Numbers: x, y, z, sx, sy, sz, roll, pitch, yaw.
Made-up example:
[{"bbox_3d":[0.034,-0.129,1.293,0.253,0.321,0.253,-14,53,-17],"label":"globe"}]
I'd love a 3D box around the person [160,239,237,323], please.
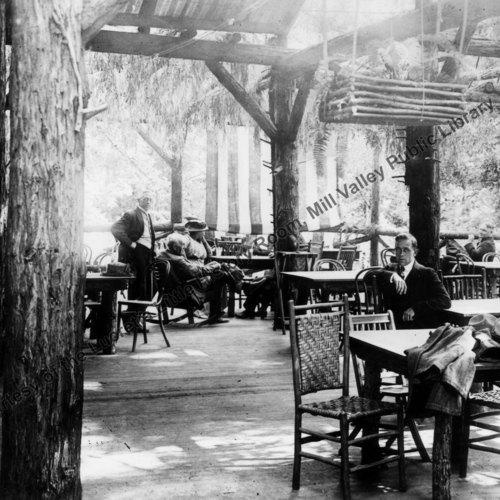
[{"bbox_3d":[-0.733,0.282,10.780,0.819,1.233,0.820,-18,24,-38],"label":"person"}]

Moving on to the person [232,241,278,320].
[{"bbox_3d":[0.098,0.576,11.575,0.586,1.343,0.494,3,6,2],"label":"person"}]

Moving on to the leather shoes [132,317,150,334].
[{"bbox_3d":[-1.189,0.809,9.337,0.156,0.096,0.226,-3,11,-23],"label":"leather shoes"}]

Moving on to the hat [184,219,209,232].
[{"bbox_3d":[-0.675,-0.300,10.965,0.180,0.080,0.179,4,26,-32],"label":"hat"}]

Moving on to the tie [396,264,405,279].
[{"bbox_3d":[1.137,0.154,6.475,0.060,0.107,0.034,-6,-10,32],"label":"tie"}]

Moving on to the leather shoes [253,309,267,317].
[{"bbox_3d":[0.156,0.854,11.774,0.107,0.130,0.081,-1,6,-16],"label":"leather shoes"}]

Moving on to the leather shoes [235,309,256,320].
[{"bbox_3d":[-0.049,0.872,11.734,0.277,0.176,0.113,4,-4,16],"label":"leather shoes"}]
